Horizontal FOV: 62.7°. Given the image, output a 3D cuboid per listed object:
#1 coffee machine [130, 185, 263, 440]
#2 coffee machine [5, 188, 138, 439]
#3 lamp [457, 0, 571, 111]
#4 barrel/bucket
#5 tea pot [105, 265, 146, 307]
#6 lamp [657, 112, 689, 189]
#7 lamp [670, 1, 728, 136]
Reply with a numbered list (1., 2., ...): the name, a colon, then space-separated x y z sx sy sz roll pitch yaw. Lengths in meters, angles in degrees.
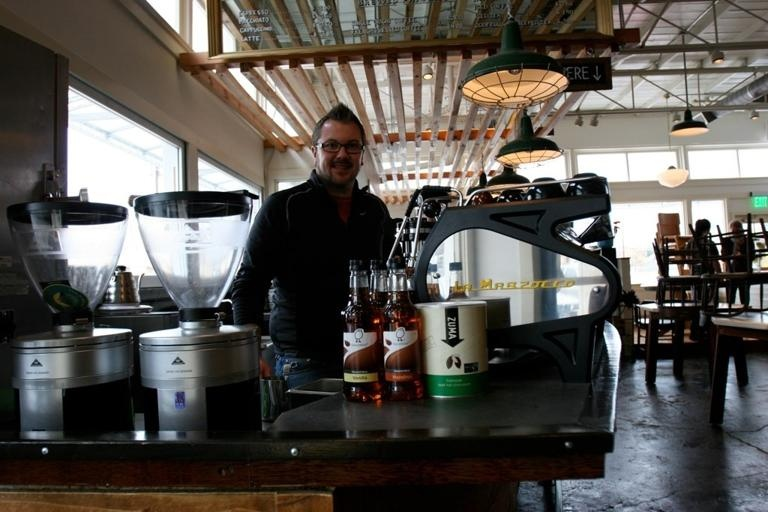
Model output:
1. coffee machine: -0.568 0.184 1.929 0.392 0.713 0.358 -1 -1 13
2. coffee machine: -0.909 0.170 1.841 0.337 0.675 0.377 -4 3 -21
3. lamp: 0.776 -1.130 4.064 0.753 0.661 0.651 2 -6 -31
4. barrel/bucket: 0.240 0.242 1.916 0.253 0.244 0.241 -2 11 0
5. tea pot: -1.470 0.169 3.586 0.193 0.226 0.265 -5 -4 11
6. lamp: 4.370 -1.542 9.669 0.445 1.019 0.423 -8 -23 32
7. lamp: 4.705 -2.579 9.560 0.668 1.857 4.585 -1 3 27
